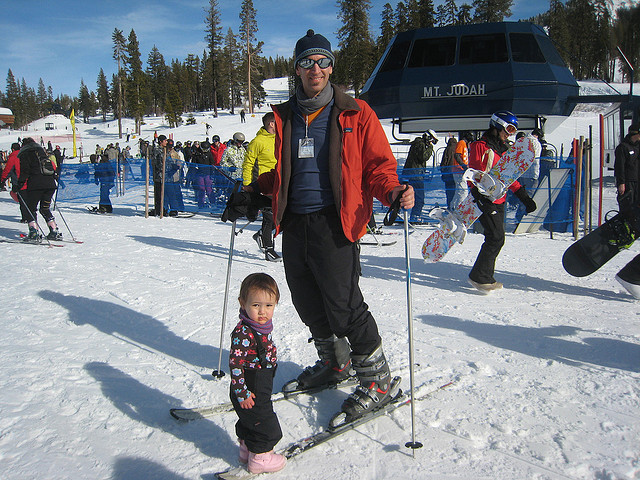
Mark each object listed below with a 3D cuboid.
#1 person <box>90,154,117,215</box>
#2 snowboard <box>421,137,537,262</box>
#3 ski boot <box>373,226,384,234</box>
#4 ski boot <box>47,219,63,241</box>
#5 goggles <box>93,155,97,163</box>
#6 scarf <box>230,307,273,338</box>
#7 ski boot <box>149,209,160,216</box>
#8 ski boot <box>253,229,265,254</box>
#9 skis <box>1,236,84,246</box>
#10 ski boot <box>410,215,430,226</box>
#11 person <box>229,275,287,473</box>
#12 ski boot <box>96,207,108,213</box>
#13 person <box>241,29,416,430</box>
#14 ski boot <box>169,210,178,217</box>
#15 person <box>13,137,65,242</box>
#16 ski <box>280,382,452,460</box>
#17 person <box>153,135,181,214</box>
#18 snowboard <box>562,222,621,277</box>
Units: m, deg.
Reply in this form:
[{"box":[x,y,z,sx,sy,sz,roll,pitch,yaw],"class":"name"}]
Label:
[{"box":[-5.449,-1.414,13.307,0.598,1.390,1.150,-6,16,-20],"class":"person"},{"box":[2.490,-0.571,8.087,2.776,0.675,0.596,-45,-6,-12],"class":"snowboard"},{"box":[1.125,-0.190,10.242,0.234,0.140,0.121,1,4,21],"class":"ski boot"},{"box":[-4.602,-0.167,9.160,0.212,0.364,0.283,-8,17,-27],"class":"ski boot"},{"box":[-6.678,-2.409,15.718,0.054,0.234,0.135,1,-3,-36],"class":"goggles"},{"box":[-0.475,0.581,3.784,0.257,0.188,0.163,0,15,1],"class":"scarf"},{"box":[-3.913,-0.661,12.479,0.157,0.077,0.221,5,4,28],"class":"ski boot"},{"box":[-0.827,0.006,7.222,0.130,0.341,0.364,-2,15,-7],"class":"ski boot"},{"box":[-5.085,0.025,9.355,1.018,0.185,0.110,4,-1,1],"class":"skis"},{"box":[2.123,-0.477,11.278,0.312,0.150,0.309,21,-9,-17],"class":"ski boot"},{"box":[-0.447,0.941,3.733,0.373,1.305,0.444,-2,15,-9],"class":"person"},{"box":[-5.477,-0.761,13.221,0.365,0.124,0.132,6,16,20],"class":"ski boot"},{"box":[0.115,-0.103,4.042,1.099,2.889,0.699,4,15,16],"class":"person"},{"box":[-3.463,-0.641,12.579,0.121,0.136,0.158,2,-5,-10],"class":"ski boot"},{"box":[-4.887,-0.858,9.152,0.811,1.758,0.585,-1,15,-3],"class":"person"},{"box":[0.358,1.402,4.044,1.268,0.094,0.140,-19,6,-16],"class":"ski"},{"box":[-3.560,-1.473,12.195,0.587,1.823,1.156,-5,15,-17],"class":"person"},{"box":[3.450,0.139,6.700,0.326,0.804,0.247,-6,51,-51],"class":"snowboard"}]
